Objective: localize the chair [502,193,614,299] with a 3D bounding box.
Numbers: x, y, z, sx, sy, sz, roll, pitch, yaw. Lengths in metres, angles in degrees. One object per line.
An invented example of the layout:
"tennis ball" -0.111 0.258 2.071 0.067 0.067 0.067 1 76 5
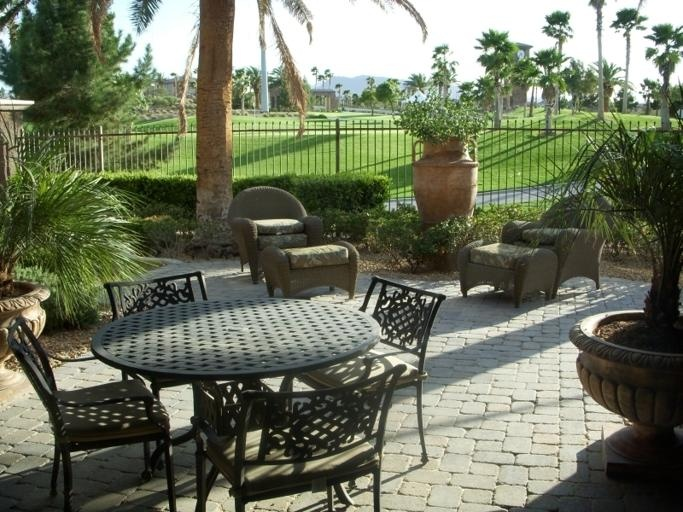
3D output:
"chair" 2.767 -0.111 7.756 1.342 1.376 1.268 -20 13 -13

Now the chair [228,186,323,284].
"chair" -0.987 -0.385 8.707 1.360 1.280 1.238 -5 9 -35

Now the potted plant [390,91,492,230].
"potted plant" 1.762 -1.661 10.493 1.624 2.249 1.422 -1 9 14

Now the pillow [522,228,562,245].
"pillow" 1.963 -0.185 5.664 0.277 0.112 0.262 2 5 25

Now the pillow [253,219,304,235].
"pillow" -0.891 -0.410 8.482 0.702 0.187 0.367 -2 13 -8

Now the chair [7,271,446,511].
"chair" -0.688 0.912 4.487 2.759 1.393 1.559 -5 10 -10

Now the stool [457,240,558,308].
"stool" 2.113 0.166 7.479 0.794 0.745 1.006 -11 17 -39
